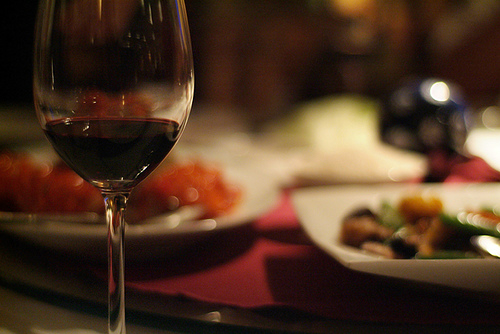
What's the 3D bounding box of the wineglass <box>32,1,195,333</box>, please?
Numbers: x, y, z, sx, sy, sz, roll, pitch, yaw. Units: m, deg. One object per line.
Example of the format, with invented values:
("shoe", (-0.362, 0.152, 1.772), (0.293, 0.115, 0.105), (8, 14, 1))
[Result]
("wineglass", (-0.107, -0.003, 0.455), (0.113, 0.278, 0.119), (-16, 26, -43))
